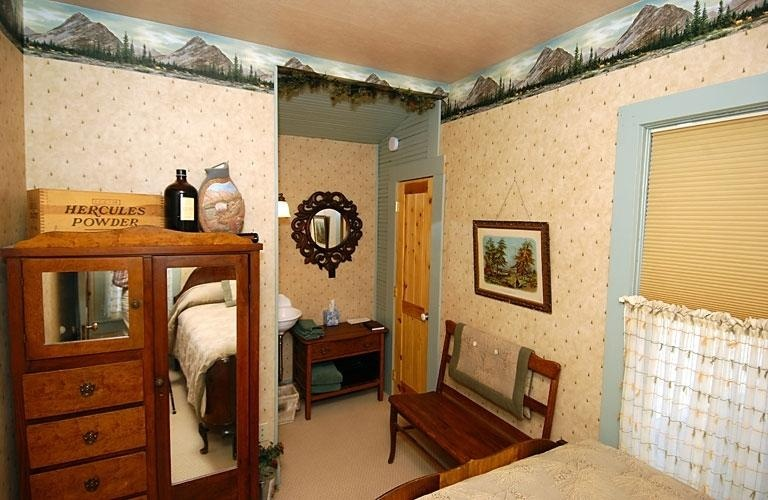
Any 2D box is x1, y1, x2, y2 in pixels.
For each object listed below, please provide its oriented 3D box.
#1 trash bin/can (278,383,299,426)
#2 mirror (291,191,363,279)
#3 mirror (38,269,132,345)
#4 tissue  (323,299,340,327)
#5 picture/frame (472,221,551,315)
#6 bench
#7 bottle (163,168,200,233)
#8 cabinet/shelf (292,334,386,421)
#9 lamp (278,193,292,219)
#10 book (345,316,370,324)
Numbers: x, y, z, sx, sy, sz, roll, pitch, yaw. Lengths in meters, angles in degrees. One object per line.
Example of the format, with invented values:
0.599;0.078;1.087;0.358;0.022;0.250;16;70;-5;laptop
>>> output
-1.014;1.633;5.517;0.266;0.245;0.332;0;-3;-17;trash bin/can
-0.693;-0.194;6.018;1.003;1.143;0.060;-2;4;-34;mirror
-2.085;0.387;3.606;0.528;0.527;0.069;-1;-1;-24;mirror
-0.598;0.724;6.084;0.207;0.286;0.185;-3;5;-18;tissue 
1.101;0.143;4.430;0.063;0.765;0.827;-3;2;-37;picture/frame
0.805;1.272;4.512;0.731;1.258;1.337;2;3;-36;bench
-1.558;-0.377;4.017;0.250;0.476;0.203;-2;5;-8;bottle
-0.551;1.226;5.946;1.045;0.831;0.856;-1;2;-29;cabinet/shelf
-1.055;-0.467;5.557;0.116;0.272;0.535;-2;5;-10;lamp
-0.289;0.836;6.223;0.320;0.035;0.240;-2;5;-16;book
